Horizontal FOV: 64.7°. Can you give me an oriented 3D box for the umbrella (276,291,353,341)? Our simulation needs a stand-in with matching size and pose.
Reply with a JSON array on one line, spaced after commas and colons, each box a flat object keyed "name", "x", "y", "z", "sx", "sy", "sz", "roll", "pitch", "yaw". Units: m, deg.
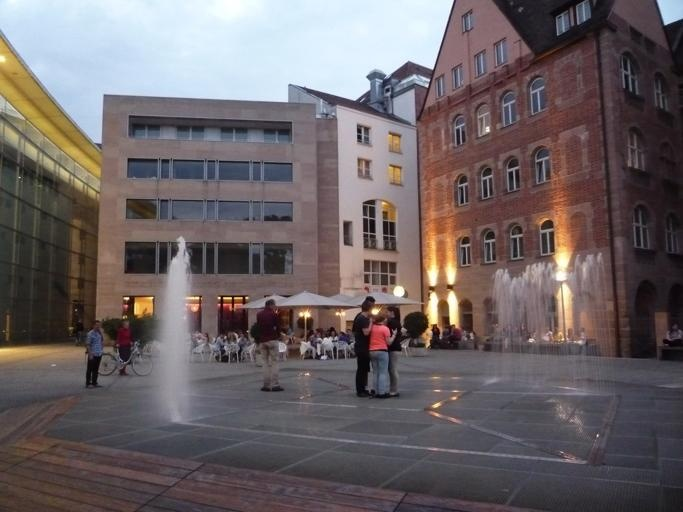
[{"name": "umbrella", "x": -1.883, "y": 3.049, "z": 26.514, "sx": 2.580, "sy": 1.644, "sz": 2.600, "roll": -1, "pitch": -3, "yaw": 38}]

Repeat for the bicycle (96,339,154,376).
[{"name": "bicycle", "x": -7.644, "y": 3.567, "z": 19.016, "sx": 1.926, "sy": 1.161, "sz": 0.953, "roll": 5, "pitch": -8, "yaw": -11}]

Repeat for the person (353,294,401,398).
[{"name": "person", "x": 0.749, "y": 2.106, "z": 12.680, "sx": 0.769, "sy": 2.337, "sz": 0.976, "roll": 6, "pitch": -11, "yaw": -38}]
